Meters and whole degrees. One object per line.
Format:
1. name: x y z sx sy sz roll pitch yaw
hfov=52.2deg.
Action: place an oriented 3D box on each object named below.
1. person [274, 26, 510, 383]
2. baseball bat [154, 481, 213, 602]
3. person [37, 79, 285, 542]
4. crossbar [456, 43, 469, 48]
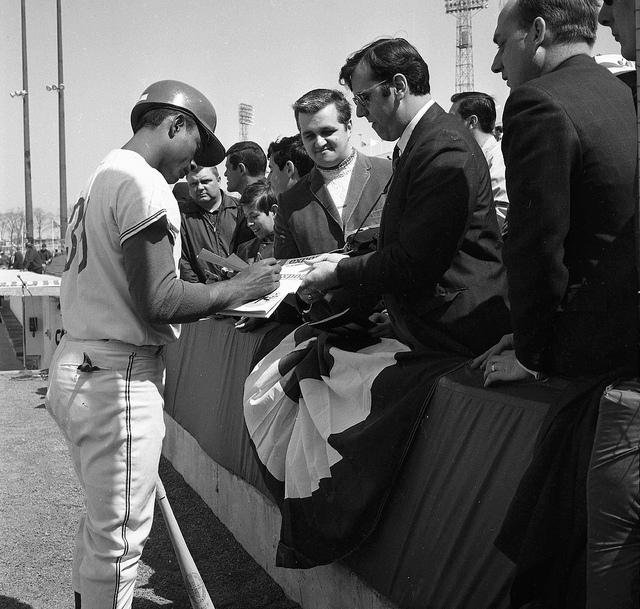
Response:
1. person: 0.358 -0.408 2.730 0.606 1.350 0.687 -13 12 -11
2. baseball bat: -0.738 1.276 3.485 0.100 0.772 0.095 -24 -10 25
3. person: -0.653 0.007 2.448 0.799 1.707 0.575 -4 6 -22
4. crossbar: 0.734 -1.339 3.377 0.062 0.012 0.019 6 11 42
